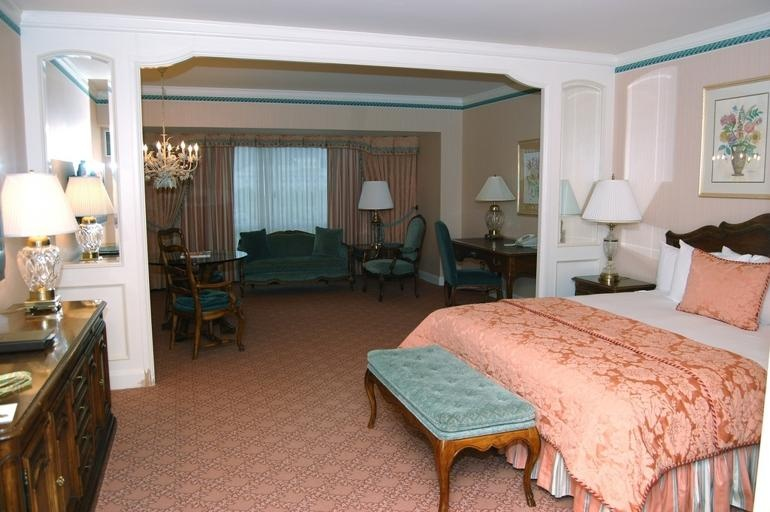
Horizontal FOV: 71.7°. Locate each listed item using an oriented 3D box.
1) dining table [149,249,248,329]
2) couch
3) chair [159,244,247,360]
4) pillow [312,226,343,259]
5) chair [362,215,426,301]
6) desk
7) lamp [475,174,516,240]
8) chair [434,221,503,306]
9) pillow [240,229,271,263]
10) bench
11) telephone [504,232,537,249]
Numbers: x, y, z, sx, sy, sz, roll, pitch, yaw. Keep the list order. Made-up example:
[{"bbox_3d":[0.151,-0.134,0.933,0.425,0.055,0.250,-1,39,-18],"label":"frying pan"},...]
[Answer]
[{"bbox_3d":[-2.543,0.466,7.273,1.077,0.769,1.081,3,7,11],"label":"dining table"},{"bbox_3d":[-1.701,0.051,9.923,2.074,1.096,1.039,-3,6,-23],"label":"couch"},{"bbox_3d":[-2.304,0.479,6.716,0.900,1.328,0.921,-4,9,-32],"label":"chair"},{"bbox_3d":[-1.070,-0.258,10.109,0.531,0.533,0.197,-3,-6,8],"label":"pillow"},{"bbox_3d":[0.140,-0.045,9.734,1.024,1.502,1.054,-1,8,-19],"label":"chair"},{"bbox_3d":[1.329,0.194,7.715,0.997,0.489,0.491,13,1,23],"label":"desk"},{"bbox_3d":[1.786,-0.786,8.662,0.638,0.973,0.628,-4,6,-36],"label":"lamp"},{"bbox_3d":[1.218,0.166,7.991,0.933,1.454,0.856,-2,7,1],"label":"chair"},{"bbox_3d":[-2.370,-0.186,9.749,0.552,0.549,0.201,-12,-4,-43],"label":"pillow"},{"bbox_3d":[0.565,0.843,4.179,0.901,0.841,1.822,-2,7,-16],"label":"bench"},{"bbox_3d":[1.980,-0.208,7.654,0.364,0.131,0.269,4,-1,-4],"label":"telephone"}]
